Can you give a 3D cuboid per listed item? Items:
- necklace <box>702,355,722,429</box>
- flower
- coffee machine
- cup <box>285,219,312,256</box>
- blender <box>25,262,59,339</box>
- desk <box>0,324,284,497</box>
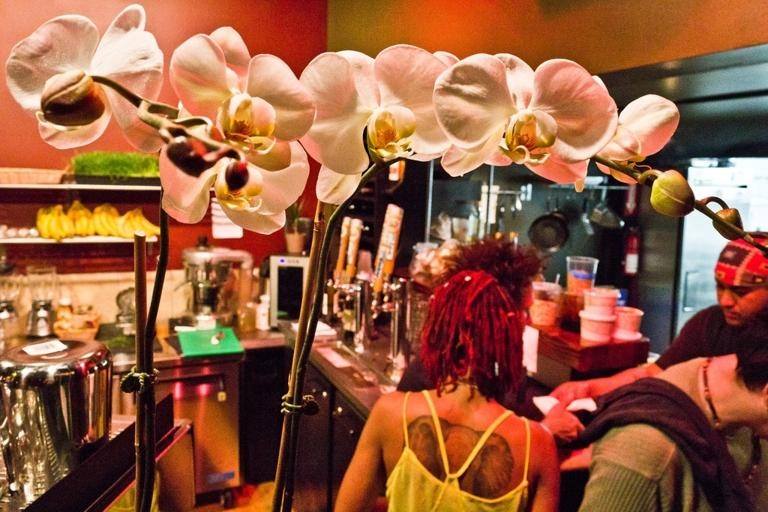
[{"bbox_3d":[1.083,0.457,2.024,0.042,0.163,0.125,-15,-10,35],"label":"necklace"},{"bbox_3d":[-0.066,0.026,1.197,1.334,1.012,0.323,1,-2,-10],"label":"flower"},{"bbox_3d":[-1.278,0.154,4.648,0.652,0.852,0.580,2,0,-9],"label":"coffee machine"},{"bbox_3d":[-0.669,-0.162,4.789,0.267,0.304,0.283,1,4,0],"label":"cup"},{"bbox_3d":[-2.317,0.301,4.129,0.292,0.464,0.294,0,0,-21],"label":"blender"},{"bbox_3d":[-1.465,0.976,4.283,1.405,1.354,0.931,0,-2,-26],"label":"desk"}]
